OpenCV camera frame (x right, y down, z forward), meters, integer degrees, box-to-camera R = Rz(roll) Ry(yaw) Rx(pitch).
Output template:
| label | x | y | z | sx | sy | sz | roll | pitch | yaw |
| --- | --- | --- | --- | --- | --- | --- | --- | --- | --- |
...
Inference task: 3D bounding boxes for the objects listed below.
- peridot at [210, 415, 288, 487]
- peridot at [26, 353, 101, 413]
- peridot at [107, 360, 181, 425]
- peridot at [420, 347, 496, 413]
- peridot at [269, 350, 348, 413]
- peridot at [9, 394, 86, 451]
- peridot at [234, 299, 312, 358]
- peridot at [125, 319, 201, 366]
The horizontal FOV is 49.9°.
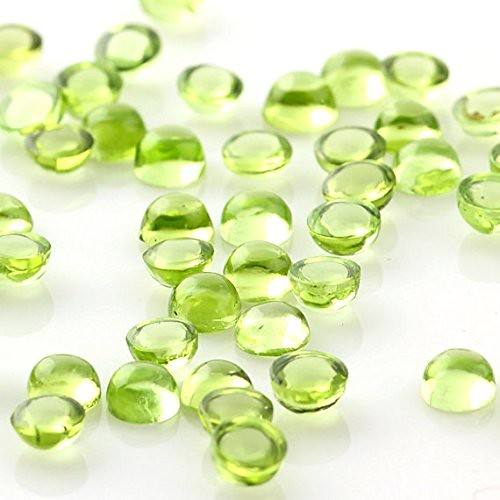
| label | x | y | z | sx | sy | sz | roll | pitch | yaw |
| --- | --- | --- | --- | --- | --- | --- | --- | --- | --- |
| peridot | -0.003 | 0.150 | 0.398 | 0.052 | 0.029 | 0.055 | 21 | 24 | 20 |
| peridot | -0.160 | 0.114 | 0.472 | 0.050 | 0.030 | 0.055 | -15 | 50 | -37 |
| peridot | -0.093 | 0.124 | 0.486 | 0.066 | 0.037 | 0.062 | -1 | 15 | -3 |
| peridot | 0.183 | 0.119 | 0.475 | 0.059 | 0.034 | 0.055 | -3 | 38 | 4 |
| peridot | 0.048 | 0.116 | 0.461 | 0.061 | 0.031 | 0.057 | -16 | 32 | -22 |
| peridot | -0.162 | 0.136 | 0.426 | 0.047 | 0.029 | 0.049 | 2 | 13 | -2 |
| peridot | 0.021 | 0.083 | 0.538 | 0.073 | 0.051 | 0.046 | -4 | 30 | 7 |
| peridot | -0.082 | 0.088 | 0.515 | 0.063 | 0.039 | 0.052 | -16 | 30 | -13 |
